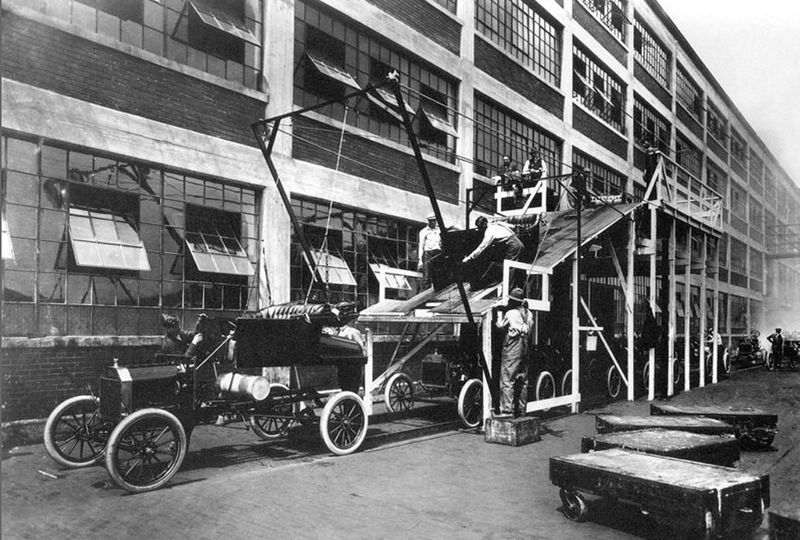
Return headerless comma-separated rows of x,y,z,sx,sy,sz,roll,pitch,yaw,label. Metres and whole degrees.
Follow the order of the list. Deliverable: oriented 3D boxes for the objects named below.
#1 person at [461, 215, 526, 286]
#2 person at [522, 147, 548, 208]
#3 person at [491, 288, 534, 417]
2.537,-0.762,19.886,0.874,1.088,1.255,-4,36,-6,person
4.190,-3.234,24.720,0.886,1.286,0.767,-1,-9,-4,person
2.702,1.937,18.496,0.789,3.010,0.784,-1,-6,6,person
